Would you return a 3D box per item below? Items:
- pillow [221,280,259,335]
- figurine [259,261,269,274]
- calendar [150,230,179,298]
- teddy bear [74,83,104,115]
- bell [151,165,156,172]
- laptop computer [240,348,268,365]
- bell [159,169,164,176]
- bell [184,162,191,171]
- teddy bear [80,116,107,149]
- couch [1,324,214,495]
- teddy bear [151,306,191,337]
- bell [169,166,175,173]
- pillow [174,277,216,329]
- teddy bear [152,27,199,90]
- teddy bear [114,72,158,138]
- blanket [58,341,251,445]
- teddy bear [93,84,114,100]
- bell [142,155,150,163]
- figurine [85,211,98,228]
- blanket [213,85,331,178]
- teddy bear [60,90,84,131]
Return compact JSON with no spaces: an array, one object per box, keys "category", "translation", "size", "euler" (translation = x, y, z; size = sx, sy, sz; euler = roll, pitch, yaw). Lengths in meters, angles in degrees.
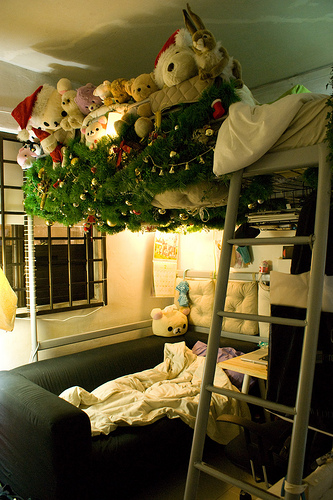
[{"category":"pillow","translation":[0.761,0.567,3.744],"size":[0.218,0.576,0.584],"euler":[6,-6,-30]},{"category":"figurine","translation":[0.963,0.177,3.661],"size":[0.098,0.140,0.108],"euler":[0,1,-4]},{"category":"calendar","translation":[-0.017,0.177,4.421],"size":[0.134,0.767,0.417],"euler":[8,6,32]},{"category":"teddy bear","translation":[-0.462,-0.882,2.139],"size":[0.164,0.173,0.163],"euler":[-4,11,-27]},{"category":"bell","translation":[-0.060,-0.346,1.568],"size":[0.020,0.022,0.017],"euler":[8,6,33]},{"category":"laptop computer","translation":[0.684,0.842,2.877],"size":[0.207,0.010,0.236],"euler":[-4,-1,36]},{"category":"bell","translation":[-0.025,-0.323,1.530],"size":[0.019,0.019,0.030],"euler":[5,5,7]},{"category":"bell","translation":[0.079,-0.327,1.442],"size":[0.020,0.023,0.024],"euler":[-5,-5,33]},{"category":"teddy bear","translation":[-0.374,-0.642,2.056],"size":[0.149,0.188,0.148],"euler":[6,11,41]},{"category":"couch","translation":[-0.436,1.076,2.453],"size":[0.716,0.623,1.343],"euler":[0,4,39]},{"category":"teddy bear","translation":[0.038,0.792,4.082],"size":[0.459,0.301,0.299],"euler":[-2,-2,-42]},{"category":"bell","translation":[0.019,-0.328,1.489],"size":[0.017,0.028,0.030],"euler":[4,5,-4]},{"category":"pillow","translation":[0.356,0.604,4.183],"size":[0.454,0.520,0.330],"euler":[4,4,41]},{"category":"teddy bear","translation":[0.039,-0.773,1.564],"size":[0.171,0.273,0.198],"euler":[4,9,8]},{"category":"teddy bear","translation":[-0.170,-0.646,1.707],"size":[0.186,0.339,0.206],"euler":[1,6,-13]},{"category":"blanket","translation":[-0.111,1.102,2.908],"size":[1.365,0.381,0.987],"euler":[3,4,-31]},{"category":"teddy bear","translation":[-0.353,-0.859,1.999],"size":[0.113,0.065,0.062],"euler":[23,19,14]},{"category":"bell","translation":[-0.090,-0.391,1.572],"size":[0.024,0.027,0.025],"euler":[7,6,-1]},{"category":"figurine","translation":[-0.509,-0.213,2.505],"size":[0.105,0.110,0.088],"euler":[3,0,-7]},{"category":"blanket","translation":[0.323,-0.350,1.284],"size":[0.135,0.325,0.322],"euler":[41,-11,-17]},{"category":"teddy bear","translation":[-0.572,-0.845,2.298],"size":[0.135,0.252,0.147],"euler":[-4,9,-33]}]
